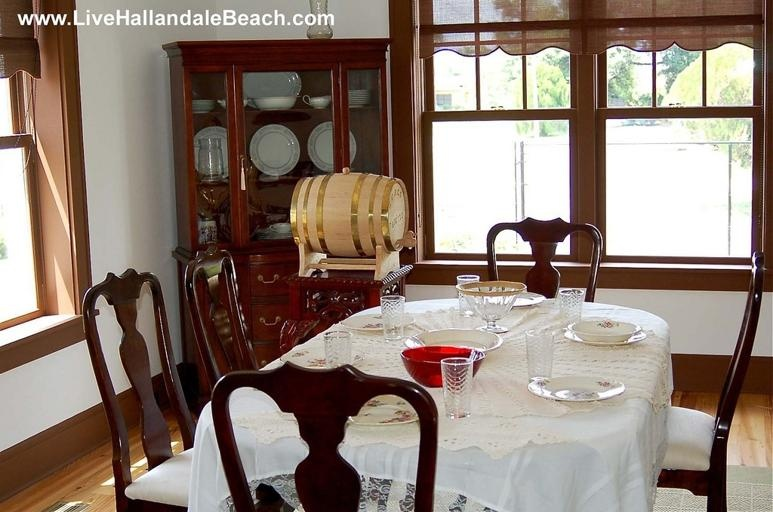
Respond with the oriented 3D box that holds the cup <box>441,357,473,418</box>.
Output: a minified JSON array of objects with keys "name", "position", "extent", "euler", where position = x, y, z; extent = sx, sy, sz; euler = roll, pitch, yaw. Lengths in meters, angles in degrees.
[{"name":"cup","position":[0.191,0.358,1.661],"extent":[0.078,0.175,0.054],"euler":[-1,15,4]}]

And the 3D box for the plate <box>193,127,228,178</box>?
[{"name":"plate","position":[-1.046,-0.637,3.781],"extent":[0.241,0.303,0.251],"euler":[1,2,41]}]

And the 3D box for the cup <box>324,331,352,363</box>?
[{"name":"cup","position":[-0.150,0.288,1.936],"extent":[0.095,0.100,0.094],"euler":[0,1,0]}]

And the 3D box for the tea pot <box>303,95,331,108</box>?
[{"name":"tea pot","position":[-0.425,-0.947,3.741],"extent":[0.117,0.057,0.090],"euler":[-1,11,1]}]

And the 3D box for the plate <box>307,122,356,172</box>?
[{"name":"plate","position":[-0.334,-0.687,3.764],"extent":[0.353,0.353,0.057],"euler":[5,10,1]}]

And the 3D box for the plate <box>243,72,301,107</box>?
[{"name":"plate","position":[-0.695,-1.008,3.719],"extent":[0.340,0.214,0.024],"euler":[-5,15,-8]}]

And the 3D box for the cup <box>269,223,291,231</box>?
[{"name":"cup","position":[-0.661,-0.178,3.825],"extent":[0.077,0.057,0.076],"euler":[0,0,0]}]

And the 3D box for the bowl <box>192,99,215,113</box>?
[{"name":"bowl","position":[-1.107,-0.901,3.659],"extent":[0.094,0.045,0.094],"euler":[1,6,0]}]

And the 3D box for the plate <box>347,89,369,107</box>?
[{"name":"plate","position":[-0.172,-0.965,3.737],"extent":[0.164,0.115,0.094],"euler":[2,20,5]}]

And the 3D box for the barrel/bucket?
[{"name":"barrel/bucket","position":[-0.192,-0.353,3.142],"extent":[0.644,0.450,0.492],"euler":[1,14,9]}]
